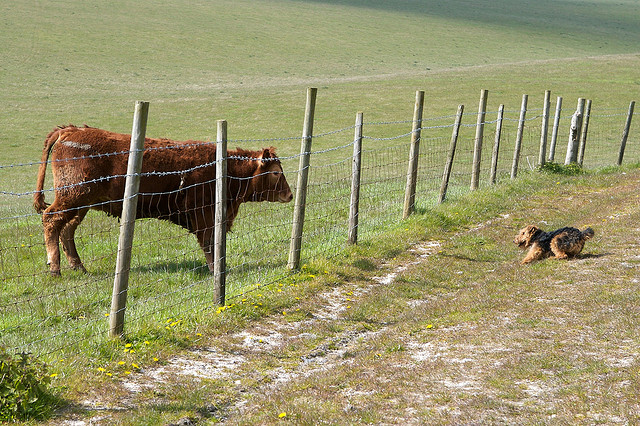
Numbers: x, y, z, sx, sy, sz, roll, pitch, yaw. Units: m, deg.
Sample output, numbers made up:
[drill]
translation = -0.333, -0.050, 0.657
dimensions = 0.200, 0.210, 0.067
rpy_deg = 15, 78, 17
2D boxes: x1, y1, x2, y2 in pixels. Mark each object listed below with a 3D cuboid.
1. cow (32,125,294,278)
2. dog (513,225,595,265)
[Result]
[cow]
translation = -6.566, -0.539, 41.894
dimensions = 8.868, 5.265, 2.817
rpy_deg = 0, 20, -9
[dog]
translation = 9.073, 1.167, 41.447
dimensions = 3.093, 1.394, 1.383
rpy_deg = -5, -4, 31
